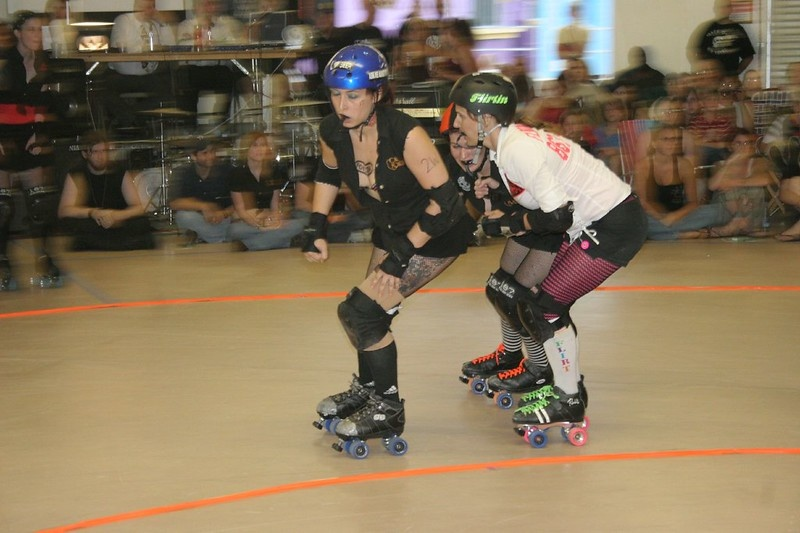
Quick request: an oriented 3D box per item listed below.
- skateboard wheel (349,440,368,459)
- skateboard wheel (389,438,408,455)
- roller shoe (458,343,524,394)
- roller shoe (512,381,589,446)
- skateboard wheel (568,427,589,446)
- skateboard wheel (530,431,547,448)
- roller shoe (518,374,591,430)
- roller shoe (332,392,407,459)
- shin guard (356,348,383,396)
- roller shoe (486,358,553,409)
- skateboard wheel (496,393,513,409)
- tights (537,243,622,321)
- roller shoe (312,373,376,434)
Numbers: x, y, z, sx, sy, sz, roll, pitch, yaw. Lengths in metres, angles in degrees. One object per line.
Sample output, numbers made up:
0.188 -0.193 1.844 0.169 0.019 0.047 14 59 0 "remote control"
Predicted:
-0.210 0.920 3.963 0.097 0.083 0.106 9 5 -1 "skateboard wheel"
-0.013 0.912 3.987 0.094 0.083 0.104 0 -1 -14 "skateboard wheel"
0.546 0.595 4.757 0.550 0.220 0.170 -10 29 -18 "roller shoe"
0.762 0.763 4.185 0.404 0.317 0.326 3 3 -4 "roller shoe"
0.917 0.875 4.067 0.101 0.090 0.110 12 3 -1 "skateboard wheel"
0.708 0.887 4.003 0.070 0.067 0.027 -38 18 -12 "skateboard wheel"
0.770 0.720 4.080 0.414 0.204 0.220 1 5 0 "roller shoe"
-0.150 0.807 3.953 0.428 0.282 0.241 1 4 -16 "roller shoe"
-0.199 0.579 4.266 0.098 0.169 0.264 -4 13 -7 "shin guard"
0.702 0.679 4.674 0.471 0.222 0.228 -2 19 -33 "roller shoe"
0.601 0.774 4.536 0.097 0.091 0.099 -1 0 0 "skateboard wheel"
0.905 0.062 4.053 0.438 0.384 0.131 -45 3 10 "tights"
-0.267 0.737 4.208 0.424 0.220 0.149 -13 25 -44 "roller shoe"
